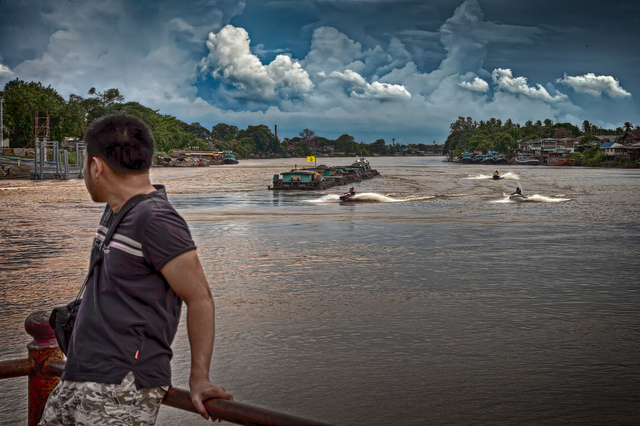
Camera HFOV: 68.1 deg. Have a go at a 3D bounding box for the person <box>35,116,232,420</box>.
[{"bbox_3d":[-1.309,0.380,3.331,1.231,2.115,0.594,1,8,1],"label":"person"}]

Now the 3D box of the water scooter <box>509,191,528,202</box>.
[{"bbox_3d":[17.267,-1.451,41.504,1.346,0.820,1.430,1,6,1],"label":"water scooter"}]

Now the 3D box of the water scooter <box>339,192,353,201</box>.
[{"bbox_3d":[2.185,-1.480,42.494,0.808,0.742,1.032,7,9,43],"label":"water scooter"}]
